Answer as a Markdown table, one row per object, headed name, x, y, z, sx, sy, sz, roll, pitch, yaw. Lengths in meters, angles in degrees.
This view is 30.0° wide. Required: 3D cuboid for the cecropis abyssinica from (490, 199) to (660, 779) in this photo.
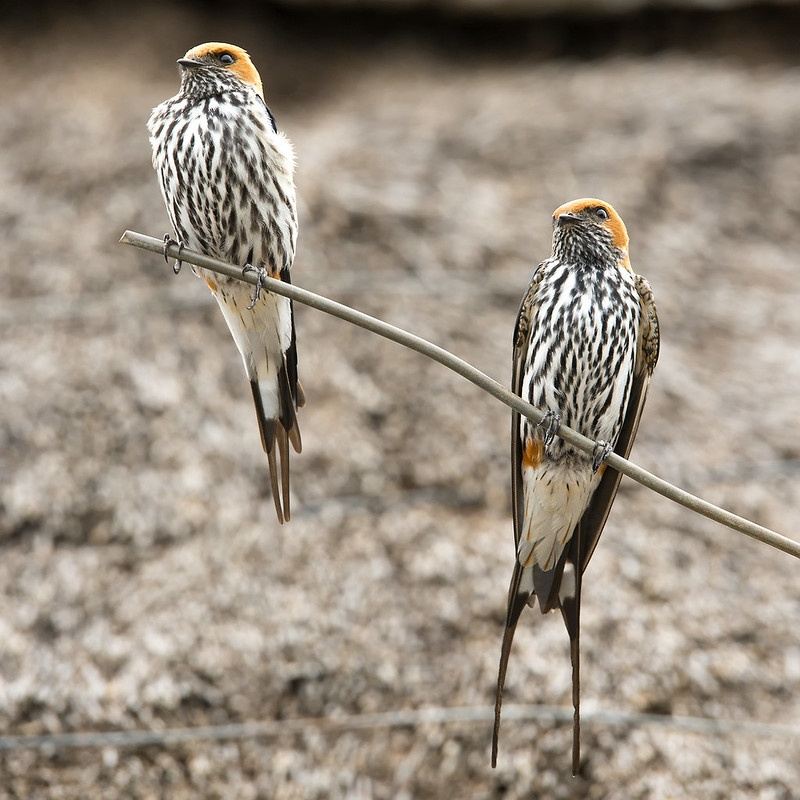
| name | x | y | z | sx | sy | sz | roll | pitch | yaw |
| --- | --- | --- | --- | --- | --- | --- | --- | --- | --- |
| cecropis abyssinica | 0.485 | 0.414 | 5.565 | 0.533 | 2.253 | 0.613 | 9 | 20 | 5 |
